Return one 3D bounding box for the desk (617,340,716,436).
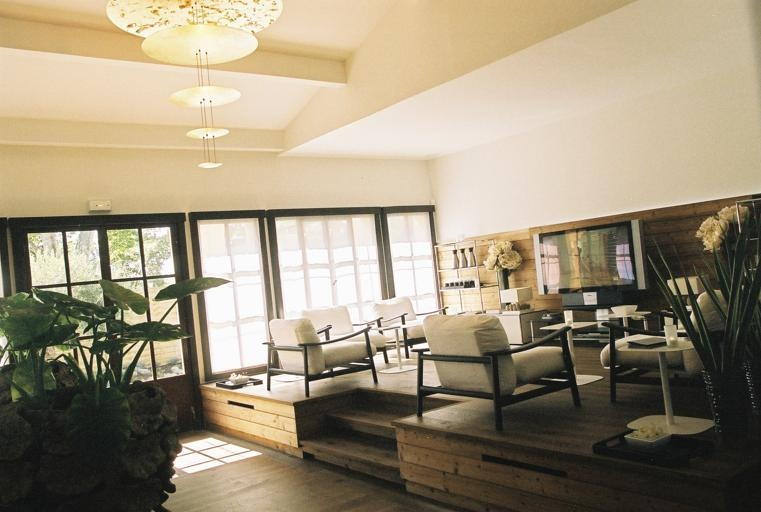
[{"bbox_3d":[2.374,1.123,4.658,0.782,0.492,0.540,-7,-12,26],"label":"desk"}]

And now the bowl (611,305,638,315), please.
[{"bbox_3d":[2.803,0.620,6.447,0.204,0.059,0.215,0,-2,0],"label":"bowl"}]

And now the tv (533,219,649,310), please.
[{"bbox_3d":[3.177,0.107,8.289,1.959,1.016,0.264,-4,6,44],"label":"tv"}]

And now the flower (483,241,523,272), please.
[{"bbox_3d":[2.047,-0.002,9.467,0.338,0.509,0.530,-7,-1,-42],"label":"flower"}]
